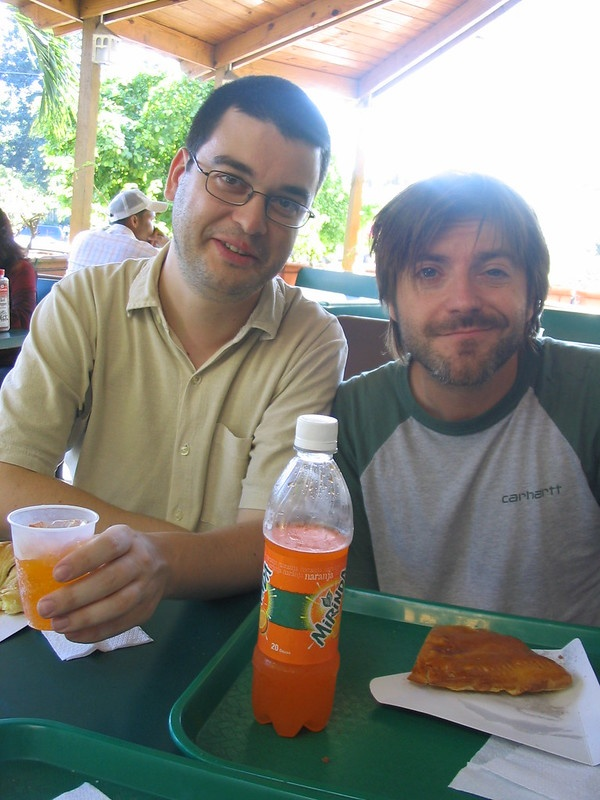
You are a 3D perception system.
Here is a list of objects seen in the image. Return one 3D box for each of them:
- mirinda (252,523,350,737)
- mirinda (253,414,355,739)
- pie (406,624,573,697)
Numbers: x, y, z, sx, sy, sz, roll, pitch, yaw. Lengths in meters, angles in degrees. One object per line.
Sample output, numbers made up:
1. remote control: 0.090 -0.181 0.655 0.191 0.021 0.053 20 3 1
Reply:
1. mirinda: 0.003 0.219 0.697 0.089 0.259 0.084 4 -1 -1
2. mirinda: 0.008 0.200 0.732 0.116 0.346 0.106 4 7 -1
3. pie: 0.223 0.334 0.845 0.214 0.023 0.154 5 11 -8
